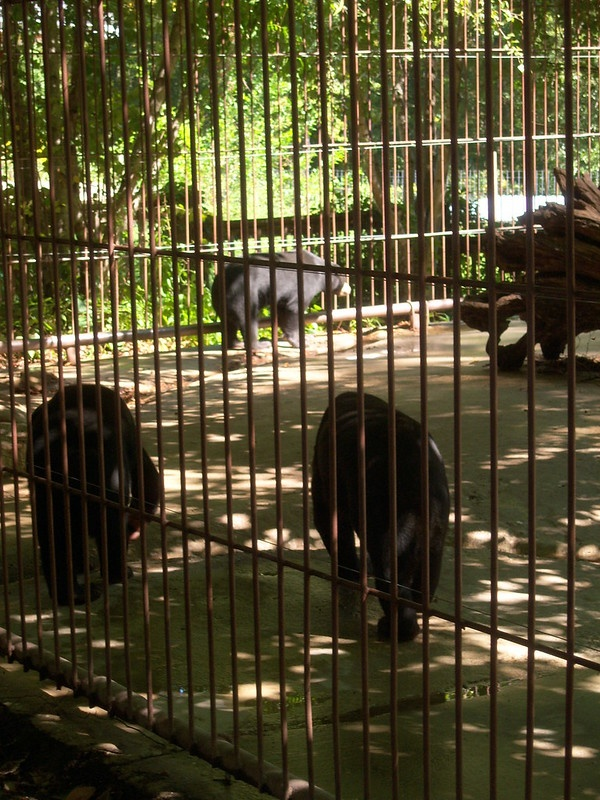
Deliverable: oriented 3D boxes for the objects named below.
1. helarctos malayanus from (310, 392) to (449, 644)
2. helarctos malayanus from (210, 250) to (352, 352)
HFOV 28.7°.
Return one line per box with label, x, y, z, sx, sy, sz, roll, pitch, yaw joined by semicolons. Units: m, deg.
helarctos malayanus;0.292;0.428;4.178;0.489;0.840;1.481;-5;4;0
helarctos malayanus;-0.153;-0.904;10.701;1.477;0.864;0.587;-7;10;-24
